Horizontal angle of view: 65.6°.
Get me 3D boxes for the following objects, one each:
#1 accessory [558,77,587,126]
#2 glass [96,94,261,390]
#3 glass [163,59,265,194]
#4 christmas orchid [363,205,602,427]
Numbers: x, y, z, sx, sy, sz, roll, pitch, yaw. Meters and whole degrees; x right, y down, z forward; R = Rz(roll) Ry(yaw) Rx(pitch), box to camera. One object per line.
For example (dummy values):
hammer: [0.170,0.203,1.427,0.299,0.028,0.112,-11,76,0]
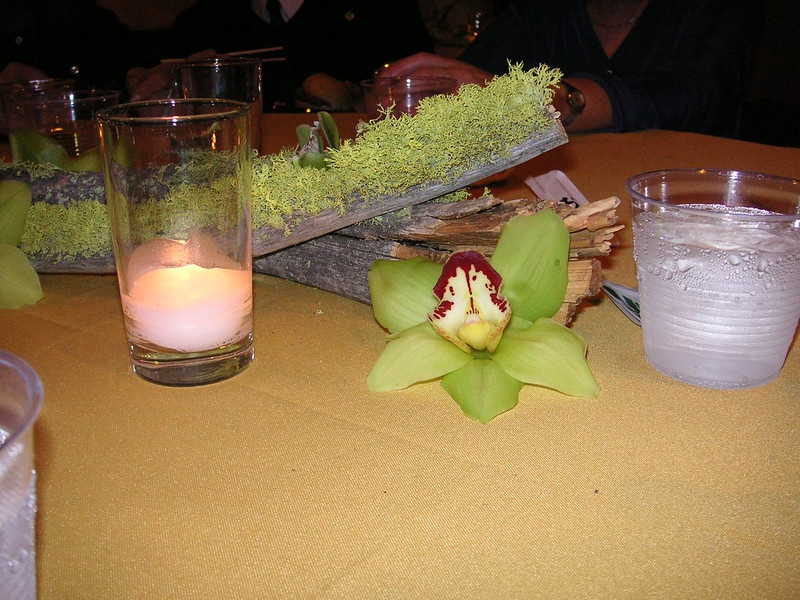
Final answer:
accessory: [0.482,-0.552,1.738,0.052,0.125,0.093,-26,43,-2]
glass: [-0.231,-0.051,0.666,0.143,0.291,0.097,-4,25,-22]
glass: [-0.336,-0.359,1.184,0.160,0.167,0.154,-8,25,-22]
christmas orchid: [0.077,0.025,0.661,0.245,0.212,0.106,-24,-15,16]
